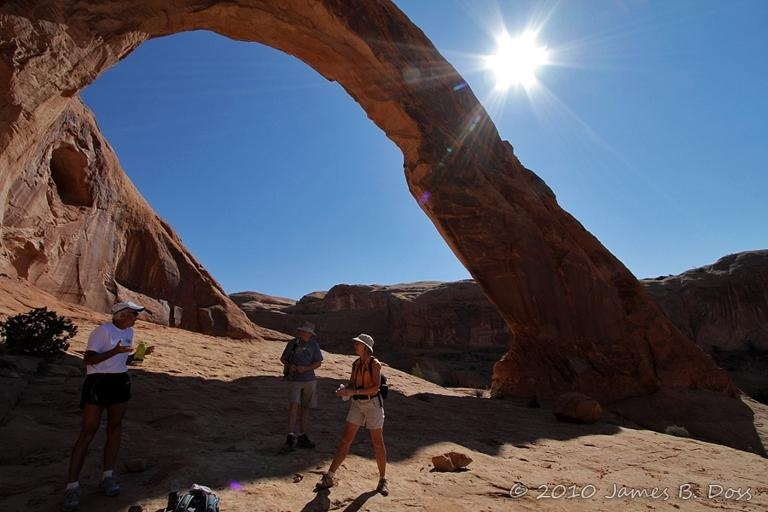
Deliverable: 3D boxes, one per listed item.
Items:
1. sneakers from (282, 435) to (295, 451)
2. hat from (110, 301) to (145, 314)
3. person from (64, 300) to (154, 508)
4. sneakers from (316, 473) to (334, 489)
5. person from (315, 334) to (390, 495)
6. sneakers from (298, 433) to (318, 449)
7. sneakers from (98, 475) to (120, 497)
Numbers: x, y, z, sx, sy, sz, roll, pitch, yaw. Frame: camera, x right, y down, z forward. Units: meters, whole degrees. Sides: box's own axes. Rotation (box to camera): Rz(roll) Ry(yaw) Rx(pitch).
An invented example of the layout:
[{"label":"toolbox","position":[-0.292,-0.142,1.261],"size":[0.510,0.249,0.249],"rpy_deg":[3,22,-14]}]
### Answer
[{"label":"sneakers","position":[-1.661,3.290,8.774],"size":[0.127,0.151,0.351],"rpy_deg":[-2,-38,-2]},{"label":"hat","position":[-3.914,0.773,7.689],"size":[0.494,0.170,0.303],"rpy_deg":[-1,-1,-31]},{"label":"person","position":[-4.140,2.140,7.374],"size":[0.688,2.856,0.742],"rpy_deg":[6,6,-22]},{"label":"sneakers","position":[-0.927,3.517,7.816],"size":[0.304,0.183,0.156],"rpy_deg":[8,-18,-2]},{"label":"person","position":[-0.331,2.447,8.316],"size":[1.105,2.359,1.409],"rpy_deg":[8,5,0]},{"label":"sneakers","position":[-1.368,3.310,8.979],"size":[0.345,0.247,0.180],"rpy_deg":[6,6,-15]},{"label":"sneakers","position":[-3.993,3.360,7.311],"size":[0.169,0.167,0.411],"rpy_deg":[5,-10,-37]}]
